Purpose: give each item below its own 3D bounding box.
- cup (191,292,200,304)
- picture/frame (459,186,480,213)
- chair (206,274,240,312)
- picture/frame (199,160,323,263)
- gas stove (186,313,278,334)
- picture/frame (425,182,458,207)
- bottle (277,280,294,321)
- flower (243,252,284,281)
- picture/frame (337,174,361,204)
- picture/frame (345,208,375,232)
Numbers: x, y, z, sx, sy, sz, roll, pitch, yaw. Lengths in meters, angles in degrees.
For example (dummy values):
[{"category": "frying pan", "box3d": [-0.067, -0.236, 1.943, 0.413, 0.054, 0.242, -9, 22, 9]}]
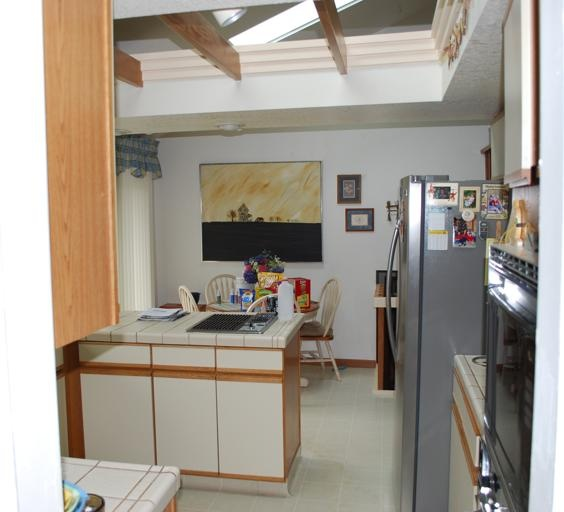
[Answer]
[{"category": "cup", "box3d": [-0.961, 0.461, 5.298, 0.112, 0.101, 0.113, -1, 0, 0]}, {"category": "picture/frame", "box3d": [0.861, -0.257, 2.213, 0.125, 0.160, 0.013, 2, -3, 6]}, {"category": "chair", "box3d": [-0.600, 0.368, 5.094, 0.401, 0.534, 0.372, -1, 0, -15]}, {"category": "picture/frame", "box3d": [-0.177, -0.507, 5.236, 1.200, 0.896, 0.022, 0, 1, 5]}, {"category": "gas stove", "box3d": [-0.284, 0.396, 2.951, 0.452, 0.039, 0.524, -1, 5, 12]}, {"category": "picture/frame", "box3d": [0.745, -0.285, 2.235, 0.116, 0.093, 0.016, 2, 9, 12]}, {"category": "bottle", "box3d": [0.017, 0.279, 2.999, 0.096, 0.238, 0.141, -4, 5, -20]}, {"category": "flower", "box3d": [-0.191, 0.073, 4.057, 0.259, 0.291, 0.183, 12, -36, -28]}, {"category": "picture/frame", "box3d": [0.714, -0.714, 5.079, 0.328, 0.363, 0.030, 1, 2, 6]}, {"category": "picture/frame", "box3d": [0.828, -0.386, 5.071, 0.264, 0.212, 0.020, 1, 0, 7]}]
